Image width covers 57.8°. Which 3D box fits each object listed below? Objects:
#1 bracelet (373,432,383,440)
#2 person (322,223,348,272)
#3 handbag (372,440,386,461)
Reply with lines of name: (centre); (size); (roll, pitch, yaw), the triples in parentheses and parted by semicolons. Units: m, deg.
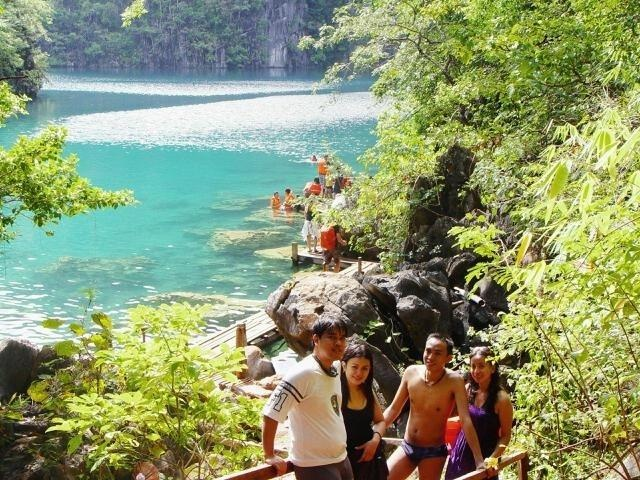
bracelet: (0.508, 1.748, 5.142); (0.016, 0.063, 0.064); (-24, 1, -18)
person: (0.336, 0.253, 16.219); (0.618, 1.489, 1.296); (0, 14, 2)
handbag: (0.513, 1.884, 5.158); (0.124, 0.166, 0.239); (-16, -27, -4)
